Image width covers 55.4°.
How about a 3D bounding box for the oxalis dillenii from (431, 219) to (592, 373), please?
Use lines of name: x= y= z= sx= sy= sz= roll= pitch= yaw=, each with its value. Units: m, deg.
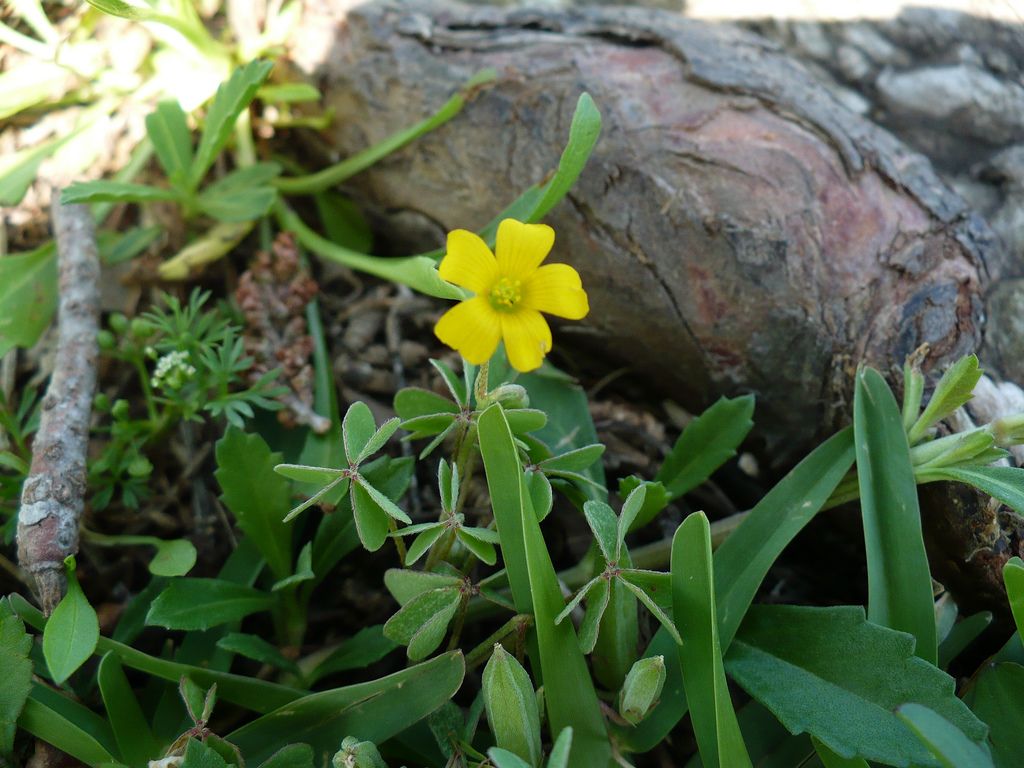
oxalis dillenii: x=-0.022 y=-0.229 z=2.372 sx=0.382 sy=0.144 sz=0.409 roll=-4 pitch=-28 yaw=40
